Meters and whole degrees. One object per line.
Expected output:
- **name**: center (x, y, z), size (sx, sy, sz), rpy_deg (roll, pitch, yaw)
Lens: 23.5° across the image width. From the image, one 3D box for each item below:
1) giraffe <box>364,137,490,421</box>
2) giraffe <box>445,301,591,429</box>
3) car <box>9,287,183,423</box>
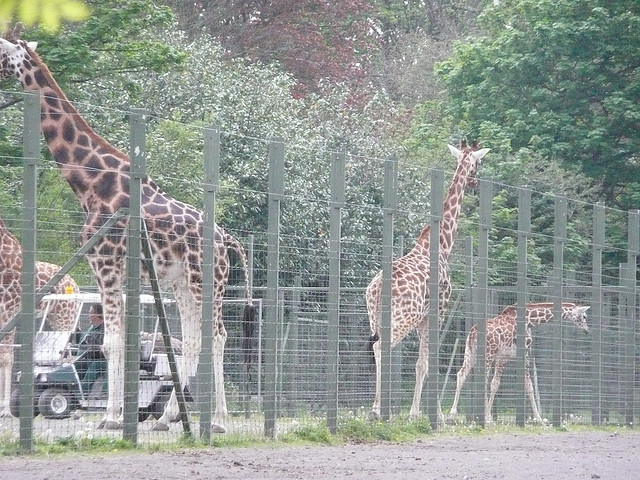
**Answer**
- **giraffe**: center (1.716, 0.515, 25.802), size (1.487, 4.973, 3.489), rpy_deg (0, -6, 18)
- **giraffe**: center (3.596, 2.156, 27.255), size (2.597, 2.188, 0.744), rpy_deg (1, -5, -21)
- **car**: center (-3.902, 1.919, 25.559), size (2.735, 2.006, 1.979), rpy_deg (1, -4, -5)
